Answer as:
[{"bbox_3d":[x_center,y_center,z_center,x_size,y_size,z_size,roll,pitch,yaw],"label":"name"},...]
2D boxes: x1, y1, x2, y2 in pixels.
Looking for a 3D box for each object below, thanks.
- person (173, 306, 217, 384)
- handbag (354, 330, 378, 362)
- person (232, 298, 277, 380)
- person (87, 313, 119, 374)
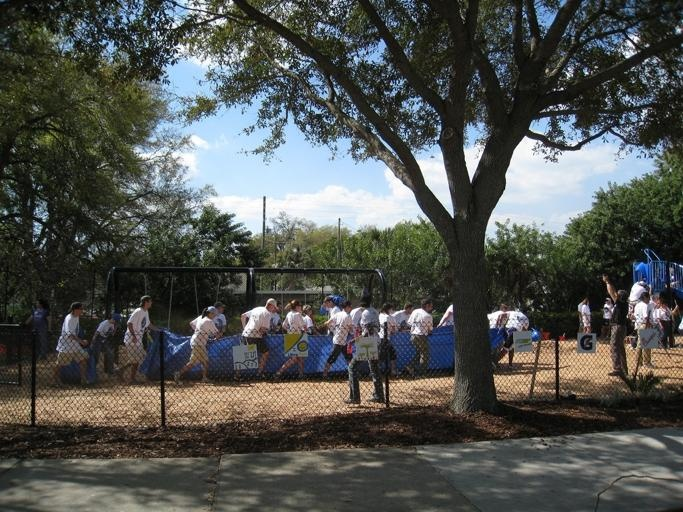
[{"bbox_3d":[-3.554,2.171,17.259,0.979,1.855,1.363,0,-6,-12],"label":"person"},{"bbox_3d":[0.536,1.889,14.434,0.573,0.674,0.256,2,-4,-19],"label":"handbag"},{"bbox_3d":[-2.105,2.043,17.517,0.804,1.918,1.060,-2,-6,10],"label":"person"},{"bbox_3d":[-5.913,2.181,17.280,0.506,1.478,0.438,3,-34,-3],"label":"person"}]
